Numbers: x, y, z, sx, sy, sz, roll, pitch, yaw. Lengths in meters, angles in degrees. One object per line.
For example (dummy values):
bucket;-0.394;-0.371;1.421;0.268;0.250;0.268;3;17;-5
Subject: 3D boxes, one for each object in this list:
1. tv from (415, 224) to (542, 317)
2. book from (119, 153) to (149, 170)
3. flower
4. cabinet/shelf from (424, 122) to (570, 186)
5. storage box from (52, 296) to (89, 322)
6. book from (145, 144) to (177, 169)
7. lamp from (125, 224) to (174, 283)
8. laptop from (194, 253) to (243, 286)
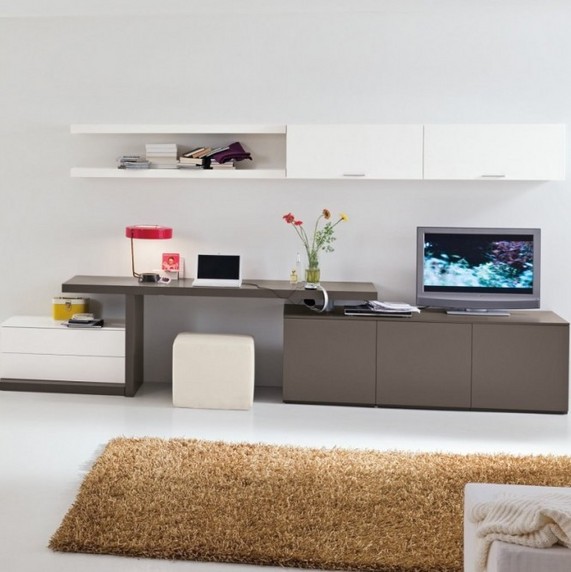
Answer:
tv;1.352;-0.101;4.422;0.710;0.449;0.090;1;1;5
book;-1.105;-0.894;4.648;0.229;0.089;0.102;-1;10;-8
flower;0.216;-0.283;4.585;0.482;0.509;0.382;0;10;1
cabinet/shelf;1.451;-0.923;4.404;0.894;0.325;0.429;1;3;6
storage box;-1.573;0.163;4.652;0.299;0.183;0.170;1;2;-3
book;-0.911;-0.928;4.664;0.214;0.172;0.195;0;3;-1
lamp;-1.041;-0.239;4.797;0.455;0.449;0.418;-1;7;-16
laptop;-0.468;-0.107;4.613;0.352;0.215;0.213;2;-4;2
